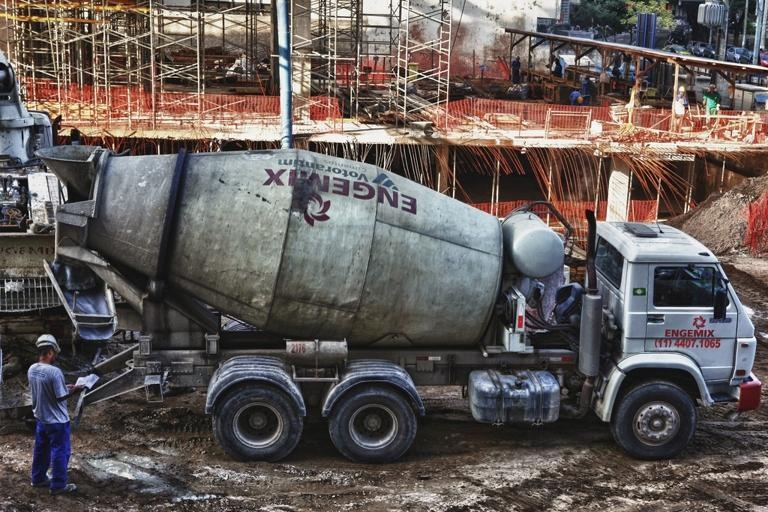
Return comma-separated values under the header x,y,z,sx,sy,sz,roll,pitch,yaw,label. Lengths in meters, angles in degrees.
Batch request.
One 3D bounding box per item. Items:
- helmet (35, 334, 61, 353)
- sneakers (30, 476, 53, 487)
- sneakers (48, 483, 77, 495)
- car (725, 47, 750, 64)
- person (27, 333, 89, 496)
x,y,z,sx,sy,sz,roll,pitch,yaw,label
-6.403,1.712,19.623,0.556,0.365,0.388,-2,8,-37,helmet
-6.480,4.323,19.305,0.439,0.200,0.159,0,6,-23,sneakers
-6.054,4.437,19.196,0.525,0.218,0.182,-7,18,-21,sneakers
21.064,-11.869,59.944,1.151,0.819,2.453,-1,7,1,car
-6.296,3.015,19.298,0.864,2.883,0.560,3,7,21,person
